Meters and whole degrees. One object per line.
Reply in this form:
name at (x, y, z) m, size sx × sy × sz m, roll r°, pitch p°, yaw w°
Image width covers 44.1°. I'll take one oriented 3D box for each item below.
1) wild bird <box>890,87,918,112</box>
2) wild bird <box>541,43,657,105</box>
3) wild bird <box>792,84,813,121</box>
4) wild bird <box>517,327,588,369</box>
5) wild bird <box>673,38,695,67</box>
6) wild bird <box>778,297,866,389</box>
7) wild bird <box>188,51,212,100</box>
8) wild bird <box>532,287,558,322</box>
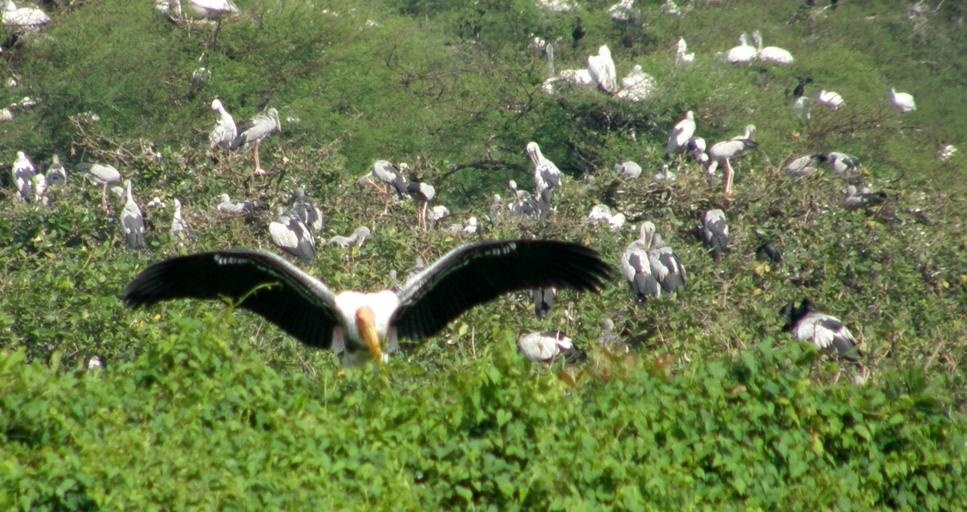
wild bird at (9.485, -3.429, 26.329) m, size 0.620 × 0.402 × 0.433 m, roll -10°, pitch 55°, yaw -47°
wild bird at (2.655, -3.862, 26.185) m, size 2.373 × 0.424 × 0.939 m, roll 8°, pitch 63°, yaw -5°
wild bird at (7.087, -3.368, 26.186) m, size 0.514 × 0.247 × 0.723 m, roll -1°, pitch 71°, yaw 10°
wild bird at (1.332, 1.760, 22.510) m, size 1.465 × 0.901 × 0.537 m, roll 14°, pitch 62°, yaw -14°
wild bird at (4.607, -4.558, 26.885) m, size 0.460 × 0.171 × 0.686 m, roll 8°, pitch 63°, yaw -5°
wild bird at (6.592, 1.495, 22.538) m, size 0.968 × 0.945 × 1.849 m, roll -33°, pitch 73°, yaw -21°
wild bird at (-6.151, -3.868, 25.649) m, size 0.341 × 0.479 × 0.855 m, roll 24°, pitch 73°, yaw -40°
wild bird at (1.191, 0.873, 22.501) m, size 0.438 × 0.274 × 0.872 m, roll 13°, pitch 80°, yaw -9°
